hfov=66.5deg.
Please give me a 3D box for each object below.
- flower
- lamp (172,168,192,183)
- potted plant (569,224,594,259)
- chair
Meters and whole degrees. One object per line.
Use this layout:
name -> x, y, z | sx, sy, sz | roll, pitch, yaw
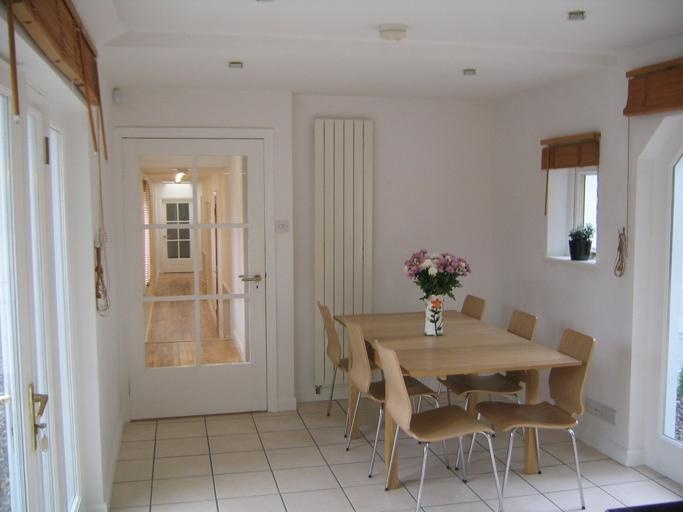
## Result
flower -> 0.778, 0.123, 4.216 | 0.455, 0.324, 0.460 | -5, 11, -17
lamp -> -1.446, -0.725, 4.715 | 0.133, 0.131, 0.032 | 2, -2, -2
potted plant -> 2.042, -0.118, 4.459 | 0.184, 0.307, 0.129 | 4, 11, 24
chair -> 0.728, 1.006, 4.177 | 1.482, 1.101, 1.699 | -3, 9, -14
